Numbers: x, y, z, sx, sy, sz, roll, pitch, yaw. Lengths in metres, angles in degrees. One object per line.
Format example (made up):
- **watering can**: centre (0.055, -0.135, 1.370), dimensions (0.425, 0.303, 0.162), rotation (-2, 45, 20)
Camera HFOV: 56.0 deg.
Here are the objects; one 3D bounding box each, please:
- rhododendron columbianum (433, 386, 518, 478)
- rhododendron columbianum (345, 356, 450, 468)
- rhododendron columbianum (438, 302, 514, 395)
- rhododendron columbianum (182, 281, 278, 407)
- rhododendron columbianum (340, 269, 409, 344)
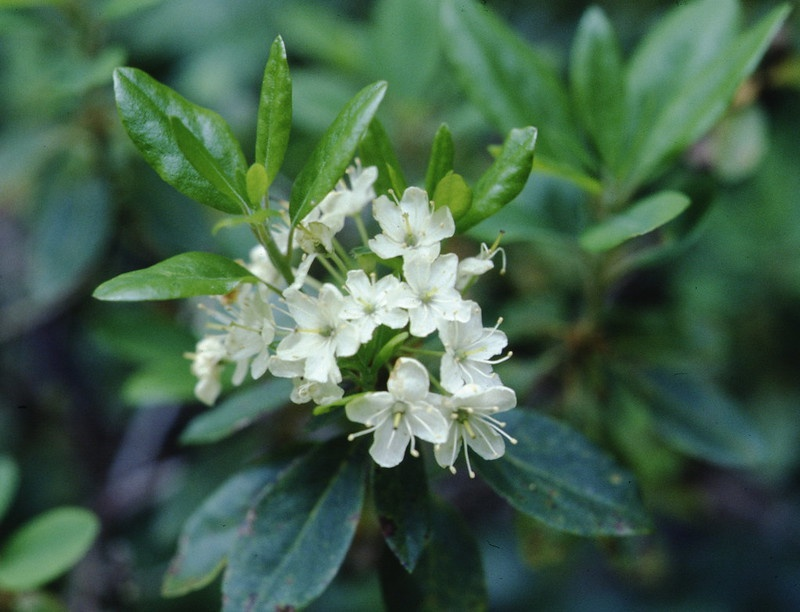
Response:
- **rhododendron columbianum**: centre (0.154, 0.248, 1.571), dimensions (0.198, 0.099, 0.226), rotation (17, 18, -7)
- **rhododendron columbianum**: centre (0.005, 0.225, 1.608), dimensions (0.202, 0.233, 0.103), rotation (13, 14, 0)
- **rhododendron columbianum**: centre (0.135, 0.066, 1.584), dimensions (0.217, 0.102, 0.178), rotation (0, 18, -16)
- **rhododendron columbianum**: centre (-0.338, 0.097, 1.643), dimensions (0.193, 0.104, 0.257), rotation (11, 7, -31)
- **rhododendron columbianum**: centre (-0.057, 0.000, 1.581), dimensions (0.140, 0.142, 0.062), rotation (-16, -19, -3)
